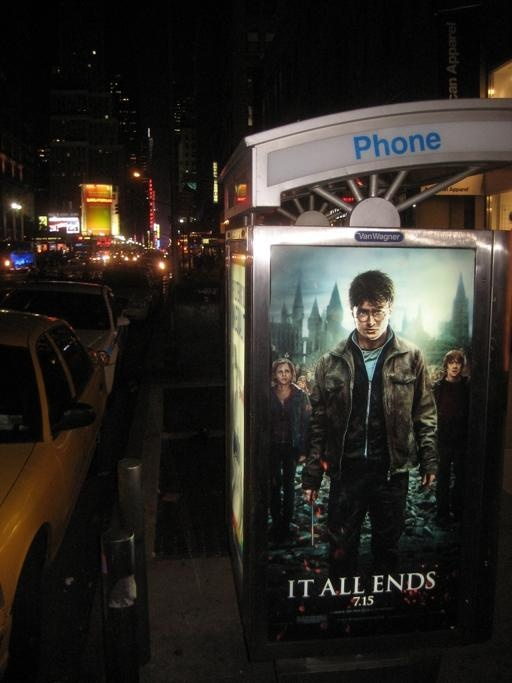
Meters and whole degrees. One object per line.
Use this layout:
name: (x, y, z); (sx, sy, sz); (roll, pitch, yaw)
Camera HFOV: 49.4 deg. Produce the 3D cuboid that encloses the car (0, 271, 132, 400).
car: (-3.153, -0.220, 9.406); (1.422, 1.349, 3.356); (2, 7, 1)
